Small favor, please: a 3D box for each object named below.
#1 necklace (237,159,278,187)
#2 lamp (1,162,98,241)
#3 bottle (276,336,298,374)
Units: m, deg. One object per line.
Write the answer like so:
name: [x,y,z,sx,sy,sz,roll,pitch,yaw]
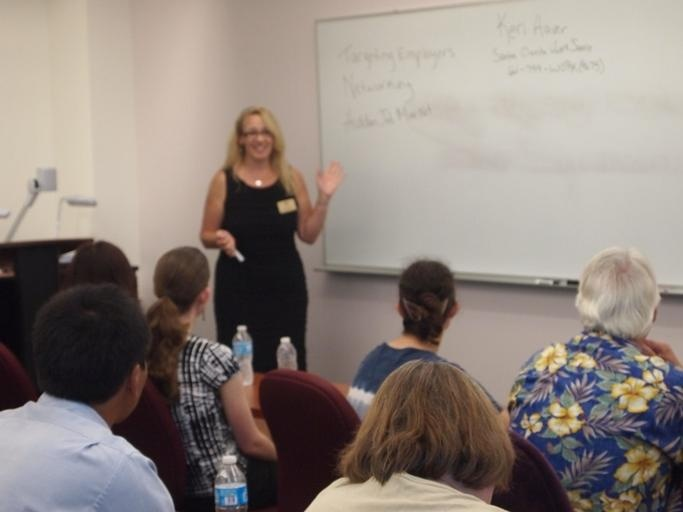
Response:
necklace: [-0.498,-0.481,3.540,0.212,0.181,0.292,4,-9,-3]
lamp: [-1.951,-0.341,3.826,0.527,0.519,1.240,0,9,-24]
bottle: [-0.310,0.570,3.188,0.106,0.209,0.111,-4,6,0]
